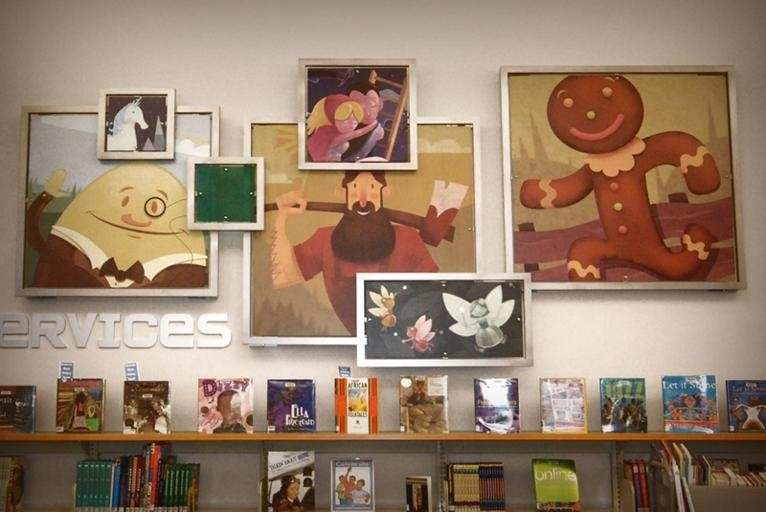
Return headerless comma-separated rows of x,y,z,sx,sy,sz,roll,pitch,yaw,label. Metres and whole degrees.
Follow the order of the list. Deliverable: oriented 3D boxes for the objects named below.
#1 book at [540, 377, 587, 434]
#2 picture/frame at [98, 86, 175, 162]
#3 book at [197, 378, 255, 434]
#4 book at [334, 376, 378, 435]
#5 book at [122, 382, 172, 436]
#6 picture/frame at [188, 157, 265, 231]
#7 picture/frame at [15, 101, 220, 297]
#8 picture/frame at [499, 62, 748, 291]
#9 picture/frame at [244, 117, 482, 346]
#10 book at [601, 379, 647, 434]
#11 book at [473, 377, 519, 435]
1.294,1.091,6.227,0.383,0.437,0.060,0,-9,1,book
-1.825,-0.987,6.429,0.525,0.493,0.051,0,-4,-1,picture/frame
-1.123,1.085,6.209,0.389,0.376,0.040,0,-10,-1,book
-0.188,1.081,6.255,0.343,0.365,0.093,2,1,4,book
-1.686,1.111,6.217,0.362,0.356,0.120,0,-7,-3,book
-1.160,-0.449,6.387,0.535,0.513,0.060,0,-5,-1,picture/frame
-1.971,-0.374,6.423,1.454,1.366,0.060,0,-2,1,picture/frame
1.759,-0.530,6.443,1.661,1.558,0.245,0,-7,0,picture/frame
-0.170,-0.112,6.401,1.688,1.569,0.060,-1,-1,2,picture/frame
1.728,1.097,6.225,0.381,0.430,0.060,0,-5,3,book
0.815,1.084,6.224,0.303,0.386,0.070,0,-8,-6,book
